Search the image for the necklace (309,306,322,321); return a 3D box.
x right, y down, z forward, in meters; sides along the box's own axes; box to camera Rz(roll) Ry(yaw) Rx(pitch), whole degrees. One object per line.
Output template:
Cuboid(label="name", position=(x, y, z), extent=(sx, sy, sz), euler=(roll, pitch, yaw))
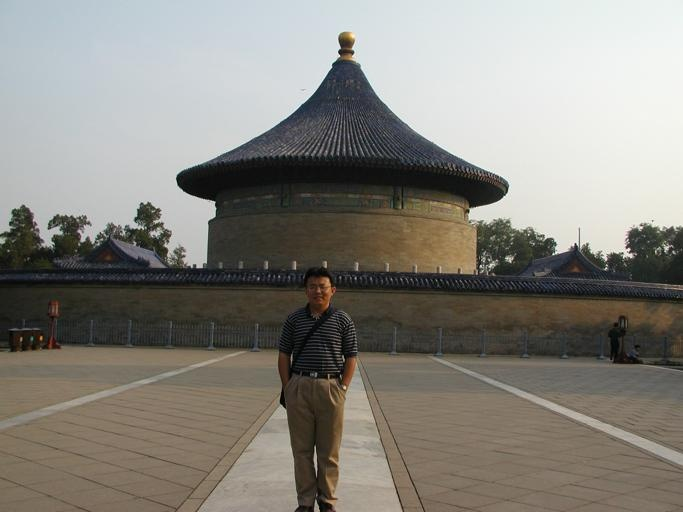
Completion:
Cuboid(label="necklace", position=(-0.255, 0.560, 6.040), extent=(0.106, 0.082, 0.110), euler=(2, -11, -5))

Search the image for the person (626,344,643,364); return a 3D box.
Cuboid(label="person", position=(8.688, 2.912, 18.635), extent=(0.369, 0.483, 1.162), euler=(-3, -5, 25))

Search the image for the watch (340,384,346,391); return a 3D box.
Cuboid(label="watch", position=(0.019, 1.245, 5.943), extent=(0.055, 0.062, 0.034), euler=(-4, -16, -12))

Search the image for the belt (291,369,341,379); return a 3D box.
Cuboid(label="belt", position=(-0.230, 1.120, 5.961), extent=(0.459, 0.080, 0.117), euler=(0, -5, -2))
